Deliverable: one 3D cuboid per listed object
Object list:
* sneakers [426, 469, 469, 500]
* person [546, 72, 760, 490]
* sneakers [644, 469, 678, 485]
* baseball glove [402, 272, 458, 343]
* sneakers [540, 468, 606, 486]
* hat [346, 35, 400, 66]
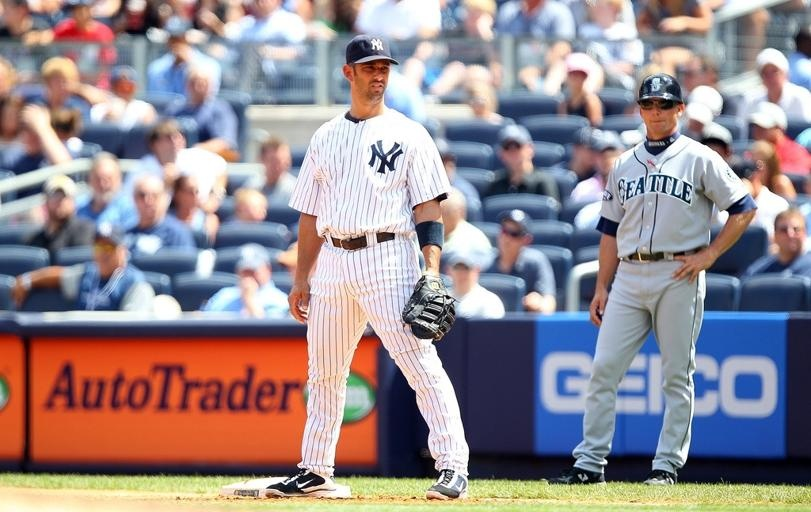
[{"bbox_3d":[0.329,1.757,11.671,0.159,0.162,0.368,-3,-13,32],"label":"sneakers"},{"bbox_3d":[1.979,0.170,12.269,1.339,3.284,0.368,1,-1,4],"label":"person"},{"bbox_3d":[2.012,1.762,12.158,0.227,0.079,0.115,5,-15,-5],"label":"sneakers"},{"bbox_3d":[0.193,0.375,11.532,0.426,0.470,0.239,8,-11,-32],"label":"baseball glove"},{"bbox_3d":[1.331,1.780,12.176,0.457,0.159,0.155,3,-11,-1],"label":"sneakers"},{"bbox_3d":[-0.271,-1.578,11.655,0.310,0.141,0.240,-3,3,36],"label":"hat"}]
